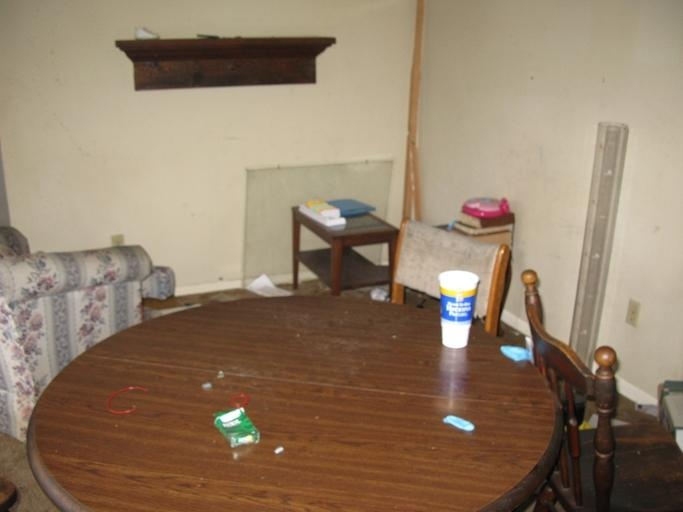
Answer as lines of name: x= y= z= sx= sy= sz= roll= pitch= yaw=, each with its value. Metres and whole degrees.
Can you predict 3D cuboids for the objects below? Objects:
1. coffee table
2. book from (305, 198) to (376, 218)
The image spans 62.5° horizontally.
coffee table: x=0.000 y=0.025 z=3.858 sx=0.520 sy=0.613 sz=0.835 roll=-9 pitch=20 yaw=-27
book: x=0.038 y=-0.321 z=3.760 sx=0.237 sy=0.060 sz=0.244 roll=-7 pitch=19 yaw=-24
